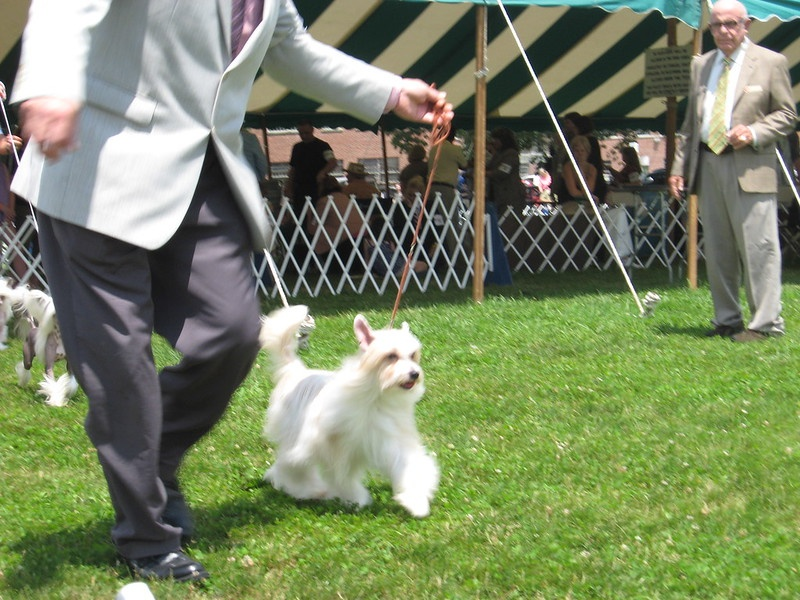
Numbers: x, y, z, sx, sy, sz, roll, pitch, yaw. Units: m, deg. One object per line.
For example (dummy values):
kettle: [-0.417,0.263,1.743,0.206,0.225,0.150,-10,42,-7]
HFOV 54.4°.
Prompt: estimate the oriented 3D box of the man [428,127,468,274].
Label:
man: [0.585,-1.327,10.068,0.429,1.775,0.469,-3,-9,12]

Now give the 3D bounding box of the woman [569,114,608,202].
woman: [2.725,-2.009,11.412,0.465,1.385,0.381,-5,-6,-25]

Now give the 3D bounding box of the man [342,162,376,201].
man: [-0.676,-1.746,12.017,0.542,0.311,0.777,4,-6,-4]

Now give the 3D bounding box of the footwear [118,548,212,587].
footwear: [-0.906,0.992,2.951,0.308,0.138,0.119,-2,-2,13]

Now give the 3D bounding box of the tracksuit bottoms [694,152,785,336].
tracksuit bottoms: [2.679,-0.390,6.529,0.607,1.454,0.419,-10,-7,-41]
